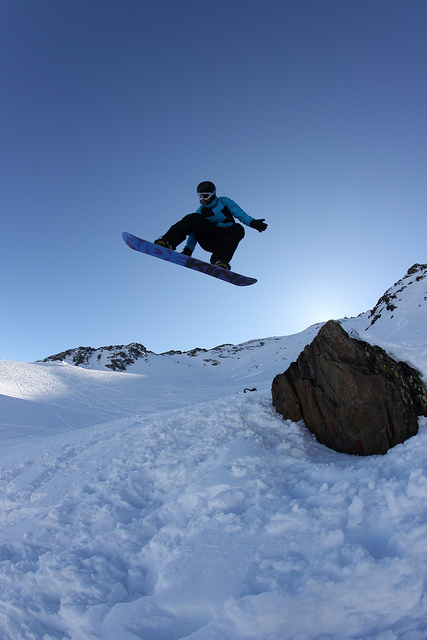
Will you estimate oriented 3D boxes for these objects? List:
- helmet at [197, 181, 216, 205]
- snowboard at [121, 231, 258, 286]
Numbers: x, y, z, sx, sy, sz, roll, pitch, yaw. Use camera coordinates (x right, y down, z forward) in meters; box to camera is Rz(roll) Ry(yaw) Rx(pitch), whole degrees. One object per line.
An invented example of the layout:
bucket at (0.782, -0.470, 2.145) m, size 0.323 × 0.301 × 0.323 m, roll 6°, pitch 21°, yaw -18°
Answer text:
helmet at (-0.122, -2.139, 10.010) m, size 0.284 × 0.330 × 0.469 m, roll -1°, pitch -3°, yaw -1°
snowboard at (-0.416, -1.037, 10.190) m, size 2.469 × 0.184 × 0.338 m, roll 20°, pitch -32°, yaw 5°
